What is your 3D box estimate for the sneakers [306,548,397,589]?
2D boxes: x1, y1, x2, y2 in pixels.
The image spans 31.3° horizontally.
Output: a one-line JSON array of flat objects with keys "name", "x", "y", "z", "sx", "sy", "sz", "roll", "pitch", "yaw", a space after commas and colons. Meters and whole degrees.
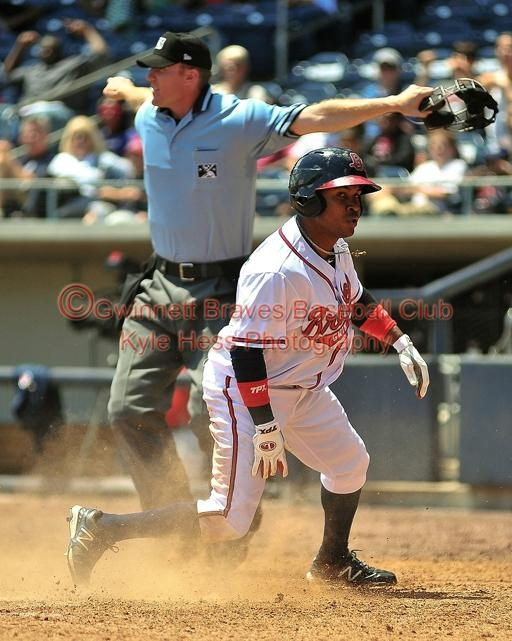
[{"name": "sneakers", "x": 0.377, "y": 1.007, "z": 3.656, "sx": 0.423, "sy": 0.129, "sz": 0.120, "roll": 3, "pitch": -7, "yaw": -2}]

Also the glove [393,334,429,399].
[{"name": "glove", "x": 0.617, "y": 0.189, "z": 3.621, "sx": 0.153, "sy": 0.246, "sz": 0.118, "roll": -21, "pitch": -14, "yaw": 1}]

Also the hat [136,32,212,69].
[{"name": "hat", "x": -0.300, "y": -1.018, "z": 3.497, "sx": 0.292, "sy": 0.113, "sz": 0.155, "roll": 3, "pitch": 20, "yaw": -19}]

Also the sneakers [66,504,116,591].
[{"name": "sneakers", "x": -0.628, "y": 0.825, "z": 3.382, "sx": 0.185, "sy": 0.319, "sz": 0.125, "roll": 5, "pitch": 9, "yaw": -15}]

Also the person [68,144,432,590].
[{"name": "person", "x": 0.036, "y": 0.276, "z": 3.308, "sx": 1.364, "sy": 1.741, "sz": 0.592, "roll": -17, "pitch": 28, "yaw": -34}]

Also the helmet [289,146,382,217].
[{"name": "helmet", "x": 0.271, "y": -0.499, "z": 3.260, "sx": 0.358, "sy": 0.196, "sz": 0.252, "roll": 1, "pitch": 8, "yaw": 16}]
